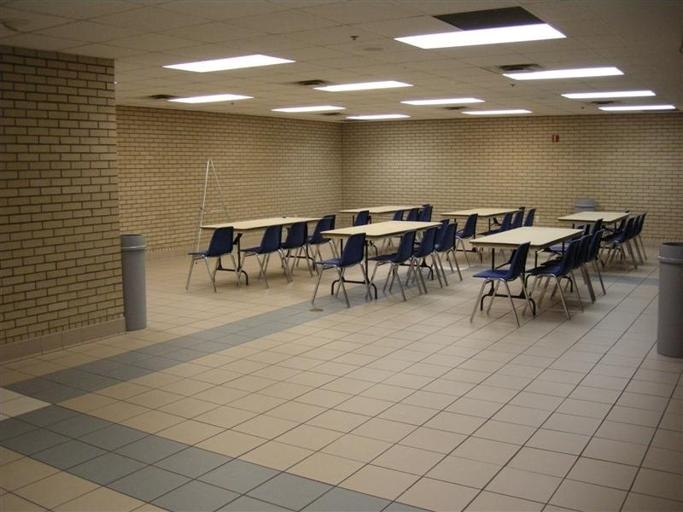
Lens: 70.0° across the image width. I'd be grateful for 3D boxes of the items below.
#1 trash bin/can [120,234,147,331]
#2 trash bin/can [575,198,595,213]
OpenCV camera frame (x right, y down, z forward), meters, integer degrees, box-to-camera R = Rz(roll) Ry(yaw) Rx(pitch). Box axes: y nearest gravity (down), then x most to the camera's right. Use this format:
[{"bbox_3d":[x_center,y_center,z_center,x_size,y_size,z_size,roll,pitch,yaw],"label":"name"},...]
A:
[{"bbox_3d":[-2.716,0.346,6.415,0.289,1.241,0.342,-2,11,-15],"label":"trash bin/can"},{"bbox_3d":[6.852,-1.423,13.672,0.515,0.335,0.477,1,4,33],"label":"trash bin/can"}]
